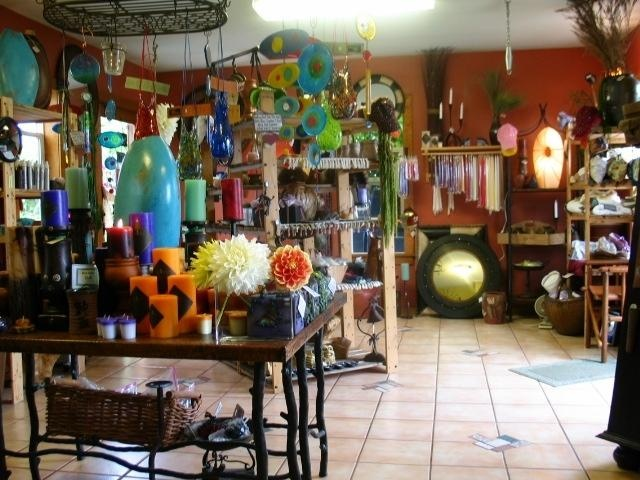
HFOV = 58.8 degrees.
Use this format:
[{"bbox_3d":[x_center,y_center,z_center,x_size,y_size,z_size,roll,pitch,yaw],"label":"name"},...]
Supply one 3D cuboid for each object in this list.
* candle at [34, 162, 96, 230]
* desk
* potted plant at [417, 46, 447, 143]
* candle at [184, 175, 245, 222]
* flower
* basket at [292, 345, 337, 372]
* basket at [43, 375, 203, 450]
[{"bbox_3d":[-1.246,-0.207,2.796,0.231,0.298,0.207,-4,5,-28],"label":"candle"},{"bbox_3d":[-0.522,0.461,2.894,1.063,0.764,1.161,-1,-2,14],"label":"desk"},{"bbox_3d":[1.450,-1.825,7.133,0.328,1.089,0.267,0,4,10],"label":"potted plant"},{"bbox_3d":[-0.656,-0.264,3.481,0.391,0.297,0.154,0,2,1],"label":"candle"},{"bbox_3d":[-0.324,0.052,2.565,0.401,0.228,0.284,-4,10,-17],"label":"flower"},{"bbox_3d":[-0.006,0.996,4.846,0.171,0.253,0.561,-4,-9,28],"label":"basket"},{"bbox_3d":[-1.086,0.859,3.033,0.537,0.274,0.391,0,-7,9],"label":"basket"}]
